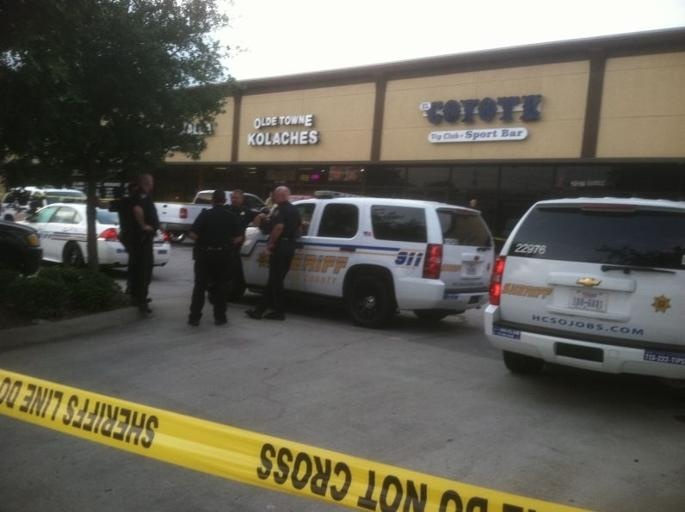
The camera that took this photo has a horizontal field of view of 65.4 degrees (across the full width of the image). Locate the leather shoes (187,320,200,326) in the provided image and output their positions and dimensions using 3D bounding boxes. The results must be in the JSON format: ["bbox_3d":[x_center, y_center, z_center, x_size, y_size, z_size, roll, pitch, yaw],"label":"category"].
[{"bbox_3d":[-2.320,1.031,8.293,0.162,0.101,0.143,0,6,-21],"label":"leather shoes"}]

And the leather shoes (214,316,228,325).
[{"bbox_3d":[-1.953,1.025,8.548,0.213,0.127,0.279,1,6,-14],"label":"leather shoes"}]

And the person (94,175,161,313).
[{"bbox_3d":[-3.309,-0.189,8.739,0.632,2.313,0.924,-3,7,-44],"label":"person"}]
